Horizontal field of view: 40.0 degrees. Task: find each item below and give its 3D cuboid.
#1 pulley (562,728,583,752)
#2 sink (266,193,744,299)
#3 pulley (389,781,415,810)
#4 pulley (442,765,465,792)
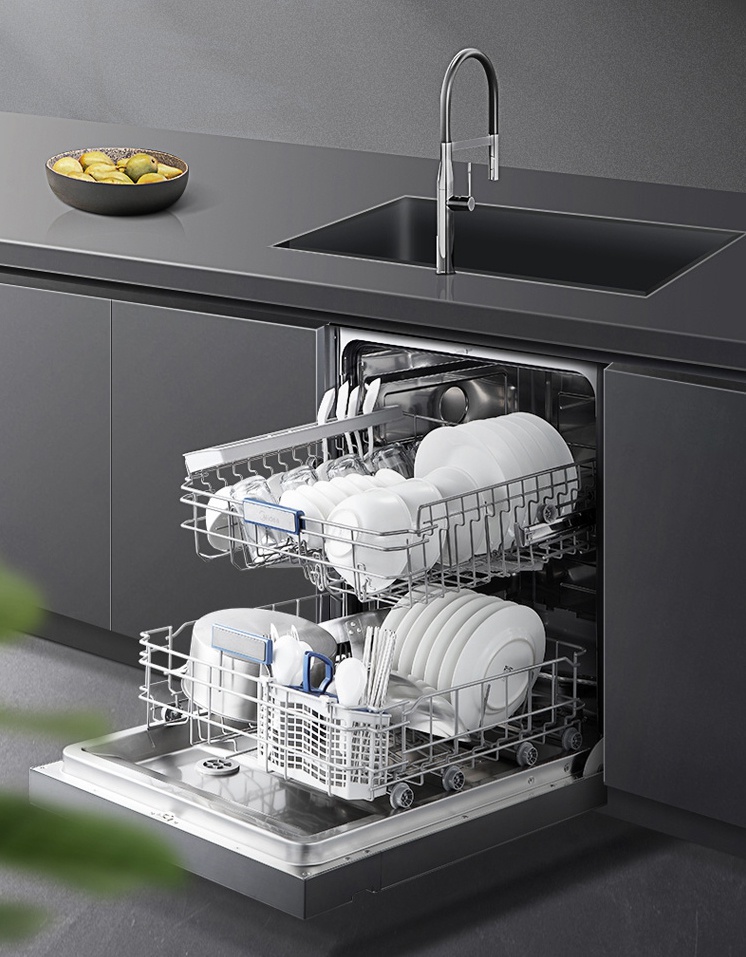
[{"bbox_3d":[0.329,0.433,1.699,0.018,0.039,0.043,-4,0,44],"label":"pulley"},{"bbox_3d":[0.287,-0.484,2.203,0.796,0.169,0.419,14,28,32],"label":"sink"},{"bbox_3d":[0.041,0.457,1.478,0.031,0.040,0.061,4,-4,7],"label":"pulley"},{"bbox_3d":[0.120,0.449,1.525,0.033,0.039,0.057,4,-4,5],"label":"pulley"}]
